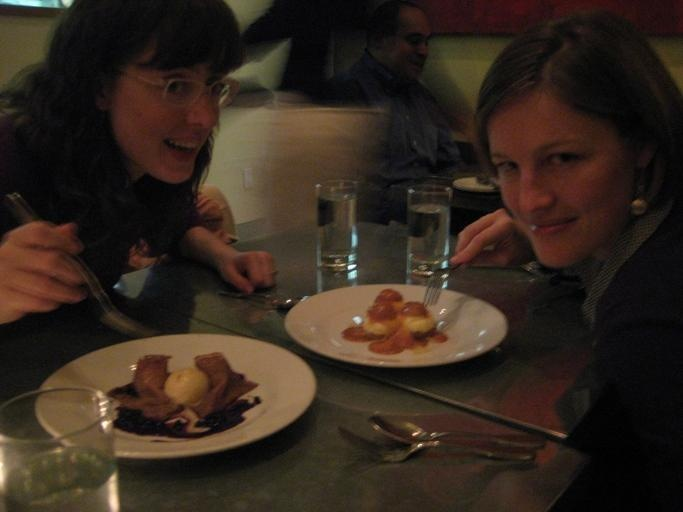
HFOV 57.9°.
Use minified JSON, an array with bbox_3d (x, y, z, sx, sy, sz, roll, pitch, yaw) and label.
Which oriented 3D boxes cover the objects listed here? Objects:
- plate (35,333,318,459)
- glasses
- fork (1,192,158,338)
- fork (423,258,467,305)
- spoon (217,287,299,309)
[{"bbox_3d":[-0.121,0.143,0.544,0.213,0.189,0.020,-16,63,-11],"label":"plate"},{"bbox_3d":[-0.232,-0.250,0.939,0.087,0.024,0.084,26,24,31],"label":"glasses"},{"bbox_3d":[-0.371,0.014,0.857,0.057,0.277,0.040,-48,2,9],"label":"fork"},{"bbox_3d":[0.151,0.037,0.862,0.025,0.022,0.165,2,28,25],"label":"fork"},{"bbox_3d":[-0.114,0.062,0.886,0.149,0.019,0.038,3,9,25],"label":"spoon"}]
